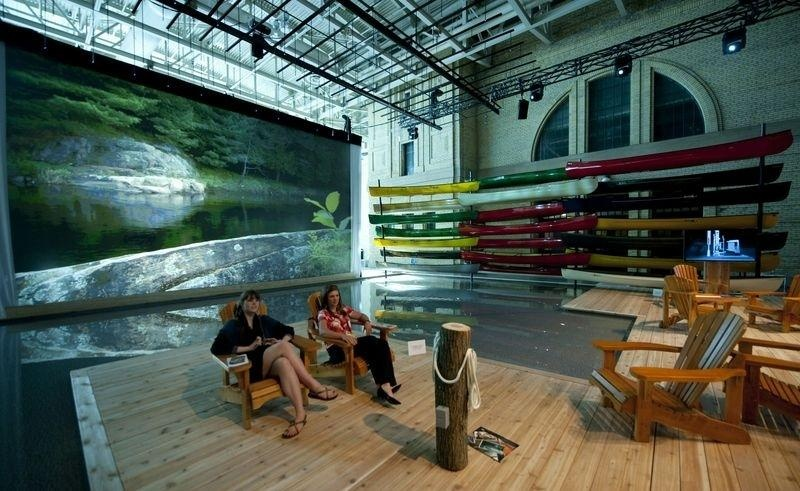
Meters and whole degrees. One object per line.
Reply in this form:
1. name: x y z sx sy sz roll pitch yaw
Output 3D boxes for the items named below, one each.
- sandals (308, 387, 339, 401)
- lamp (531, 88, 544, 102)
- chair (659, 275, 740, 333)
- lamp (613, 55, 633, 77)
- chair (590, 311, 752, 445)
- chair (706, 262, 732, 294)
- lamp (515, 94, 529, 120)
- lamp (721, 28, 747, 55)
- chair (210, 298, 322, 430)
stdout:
1. sandals: -1.295 2.452 7.948 0.415 0.110 0.222 1 0 5
2. lamp: 3.966 -4.393 14.007 0.346 0.327 0.613 -1 3 14
3. chair: 5.965 1.165 9.741 1.284 0.872 1.012 4 -4 -38
4. lamp: 5.891 -4.793 12.673 0.375 0.456 0.349 0 5 31
5. chair: 4.323 2.032 7.694 2.293 1.621 1.774 -3 6 4
6. chair: 6.992 0.736 10.865 0.696 0.798 0.674 1 -6 23
7. lamp: 3.746 -4.213 14.646 0.274 0.704 0.656 -1 4 21
8. lamp: 8.131 -5.031 11.700 0.432 0.559 0.372 0 5 27
9. chair: -2.107 1.864 7.900 1.680 2.266 0.848 -1 5 19
